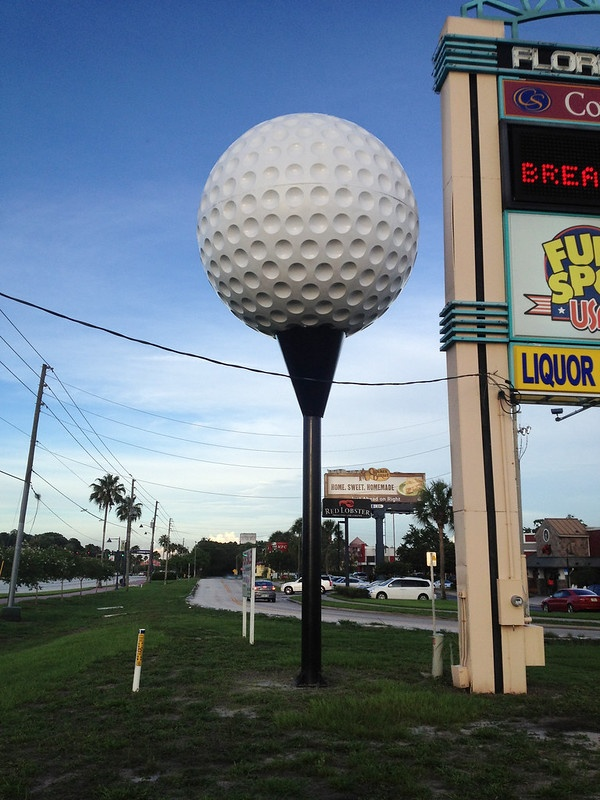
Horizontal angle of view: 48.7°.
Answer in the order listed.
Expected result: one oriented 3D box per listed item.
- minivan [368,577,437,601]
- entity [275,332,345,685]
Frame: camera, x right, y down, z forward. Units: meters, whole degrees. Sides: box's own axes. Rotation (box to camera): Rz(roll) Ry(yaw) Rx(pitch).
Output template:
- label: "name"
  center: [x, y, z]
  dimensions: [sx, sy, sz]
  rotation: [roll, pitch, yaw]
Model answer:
- label: "minivan"
  center: [5.781, 10.844, 37.829]
  dimensions: [3.304, 1.163, 2.336]
  rotation: [-1, -14, 3]
- label: "entity"
  center: [0.195, 1.608, 10.838]
  dimensions: [0.989, 5.725, 0.542]
  rotation: [-1, -13, 2]
